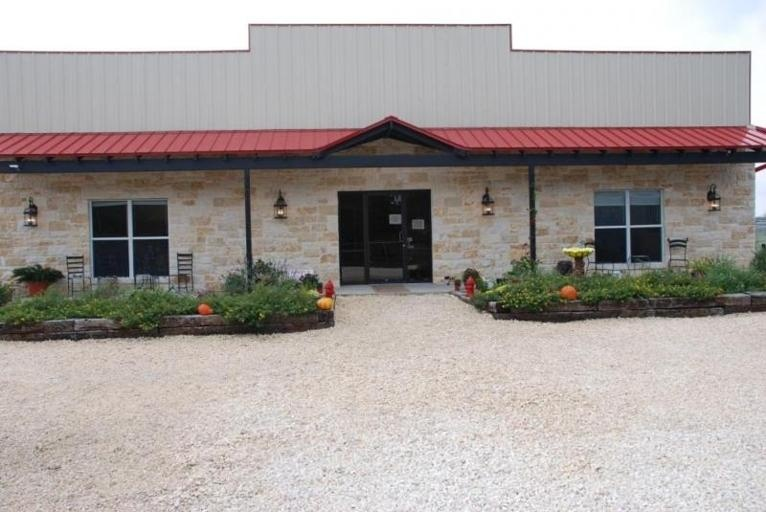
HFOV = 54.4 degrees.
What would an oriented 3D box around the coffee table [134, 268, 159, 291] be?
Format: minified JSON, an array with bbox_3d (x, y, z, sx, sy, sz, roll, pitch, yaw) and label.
[{"bbox_3d":[-5.598,0.549,17.662,0.629,0.593,0.626,1,-2,-27],"label":"coffee table"}]

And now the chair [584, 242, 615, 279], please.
[{"bbox_3d":[5.221,0.011,18.348,0.996,0.656,0.500,-1,0,-41],"label":"chair"}]

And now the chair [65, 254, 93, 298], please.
[{"bbox_3d":[-7.223,0.413,17.674,0.588,0.924,0.305,-1,-1,-18],"label":"chair"}]

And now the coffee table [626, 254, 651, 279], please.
[{"bbox_3d":[6.295,0.141,18.442,0.747,0.815,0.224,1,-14,3],"label":"coffee table"}]

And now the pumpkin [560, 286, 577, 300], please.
[{"bbox_3d":[3.641,0.705,14.660,0.393,0.229,0.258,-1,0,-8],"label":"pumpkin"}]

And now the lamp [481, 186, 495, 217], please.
[{"bbox_3d":[2.546,-1.366,18.203,0.313,0.499,0.254,-1,0,6],"label":"lamp"}]

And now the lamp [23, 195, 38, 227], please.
[{"bbox_3d":[-8.333,-1.046,17.573,0.337,0.702,0.207,-1,-1,7],"label":"lamp"}]

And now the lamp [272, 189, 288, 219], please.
[{"bbox_3d":[-2.465,-1.262,17.885,0.358,0.679,0.191,-1,-1,-8],"label":"lamp"}]

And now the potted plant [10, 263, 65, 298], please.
[{"bbox_3d":[-7.991,0.520,17.256,1.057,0.720,0.860,-1,0,-15],"label":"potted plant"}]

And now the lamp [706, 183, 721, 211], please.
[{"bbox_3d":[8.196,-1.463,18.480,0.361,0.609,0.222,-1,-1,-2],"label":"lamp"}]

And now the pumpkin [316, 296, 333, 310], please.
[{"bbox_3d":[-1.130,0.885,14.495,0.231,0.216,0.228,0,1,-44],"label":"pumpkin"}]

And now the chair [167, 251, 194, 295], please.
[{"bbox_3d":[-4.817,0.363,17.799,0.588,0.958,0.363,-1,-1,-12],"label":"chair"}]

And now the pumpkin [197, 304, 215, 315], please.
[{"bbox_3d":[-3.372,0.970,14.172,0.219,0.203,0.212,-8,17,-24],"label":"pumpkin"}]
